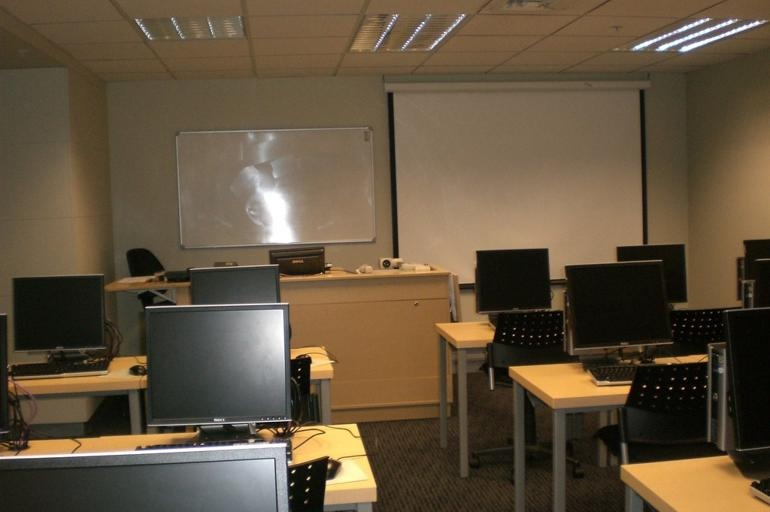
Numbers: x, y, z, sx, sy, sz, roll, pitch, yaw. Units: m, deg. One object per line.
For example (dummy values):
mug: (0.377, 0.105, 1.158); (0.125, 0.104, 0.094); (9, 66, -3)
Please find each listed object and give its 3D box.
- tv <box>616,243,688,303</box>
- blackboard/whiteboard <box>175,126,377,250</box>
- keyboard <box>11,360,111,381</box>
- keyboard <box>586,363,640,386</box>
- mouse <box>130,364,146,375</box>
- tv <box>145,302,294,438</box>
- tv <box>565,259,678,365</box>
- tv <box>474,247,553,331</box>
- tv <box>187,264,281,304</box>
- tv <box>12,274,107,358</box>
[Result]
tv: (1.993, 0.131, 4.687); (0.513, 0.458, 0.164); (-1, 0, 6)
blackboard/whiteboard: (-1.226, -0.794, 7.149); (2.276, 1.342, 0.074); (-2, 1, 0)
keyboard: (-2.242, 0.782, 4.318); (0.666, 0.136, 0.247); (-4, 0, -8)
keyboard: (1.425, 0.746, 3.946); (0.279, 0.105, 0.289); (-4, 0, 18)
mouse: (-1.697, 0.783, 4.296); (0.102, 0.071, 0.190); (-4, 0, -26)
tv: (-0.885, 0.577, 3.339); (0.795, 0.627, 0.057); (-2, -2, 8)
tv: (1.520, 0.387, 4.169); (0.680, 0.657, 0.236); (-3, -7, -7)
tv: (1.019, 0.202, 5.154); (0.619, 0.516, 0.195); (-2, -1, -9)
tv: (-1.053, 0.227, 4.429); (0.601, 0.394, 0.319); (-3, 18, -8)
tv: (-2.251, 0.409, 4.327); (0.615, 0.497, 0.062); (1, -2, -4)
